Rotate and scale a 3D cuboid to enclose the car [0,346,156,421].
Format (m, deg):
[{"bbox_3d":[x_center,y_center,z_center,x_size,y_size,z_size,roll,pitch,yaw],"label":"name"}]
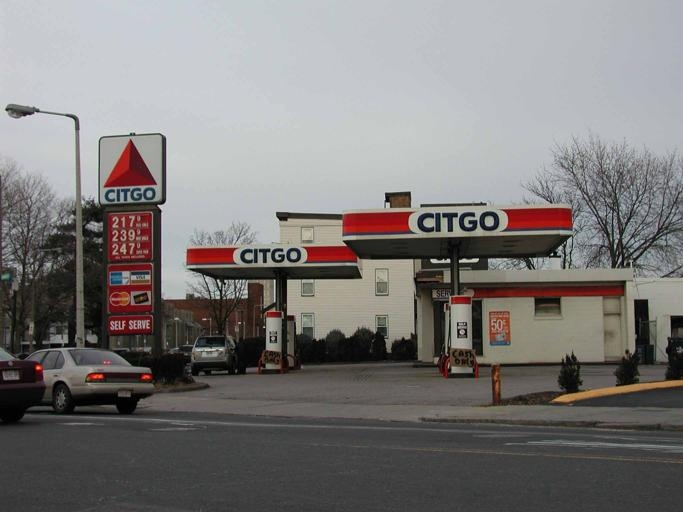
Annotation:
[{"bbox_3d":[-6.263,3.139,22.929,3.448,1.183,1.504,0,-5,43],"label":"car"}]

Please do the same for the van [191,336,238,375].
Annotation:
[{"bbox_3d":[-6.109,4.763,43.424,2.057,1.937,1.848,0,-8,-5],"label":"van"}]
